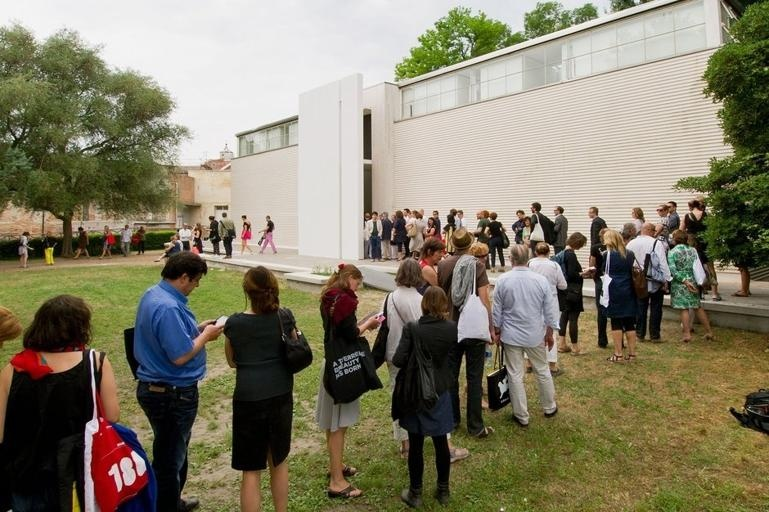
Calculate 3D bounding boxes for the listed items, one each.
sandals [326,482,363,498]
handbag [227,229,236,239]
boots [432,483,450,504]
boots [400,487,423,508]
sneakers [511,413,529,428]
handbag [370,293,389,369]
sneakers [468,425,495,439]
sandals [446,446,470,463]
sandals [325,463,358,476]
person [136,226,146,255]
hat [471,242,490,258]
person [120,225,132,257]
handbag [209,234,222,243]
[{"bbox_3d":[-0.480,2.823,6.219,0.280,0.092,0.173,0,-6,0],"label":"sandals"},{"bbox_3d":[-5.908,-0.866,20.057,0.341,0.384,0.364,-13,15,-28],"label":"handbag"},{"bbox_3d":[0.675,2.795,6.125,0.169,0.232,0.112,0,0,5],"label":"boots"},{"bbox_3d":[0.300,2.806,6.138,0.138,0.275,0.284,-2,16,-18],"label":"boots"},{"bbox_3d":[1.940,2.348,7.386,0.098,0.105,0.251,3,2,-21],"label":"sneakers"},{"bbox_3d":[-0.046,0.974,6.481,0.254,0.704,0.502,-3,5,-9],"label":"handbag"},{"bbox_3d":[1.356,2.433,7.180,0.372,0.156,0.132,-4,5,-21],"label":"sneakers"},{"bbox_3d":[0.980,2.574,6.772,0.312,0.161,0.176,0,0,-19],"label":"sandals"},{"bbox_3d":[-0.523,2.661,6.399,0.364,0.142,0.145,-2,2,-31],"label":"sandals"},{"bbox_3d":[-13.678,-0.867,29.075,0.308,1.594,1.275,0,0,-30],"label":"person"},{"bbox_3d":[1.392,-0.091,7.460,0.261,0.202,0.191,-21,28,-39],"label":"hat"},{"bbox_3d":[-13.454,-0.823,26.876,0.331,1.669,1.064,0,0,-33],"label":"person"},{"bbox_3d":[-6.792,-0.719,20.657,0.282,0.400,0.374,7,1,2],"label":"handbag"}]
